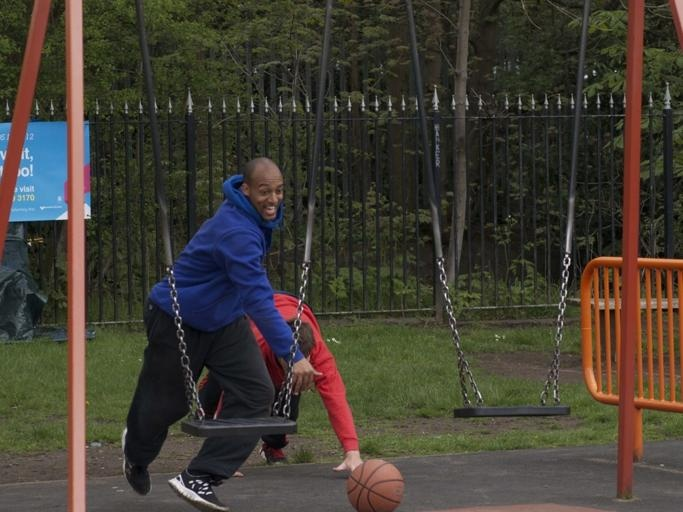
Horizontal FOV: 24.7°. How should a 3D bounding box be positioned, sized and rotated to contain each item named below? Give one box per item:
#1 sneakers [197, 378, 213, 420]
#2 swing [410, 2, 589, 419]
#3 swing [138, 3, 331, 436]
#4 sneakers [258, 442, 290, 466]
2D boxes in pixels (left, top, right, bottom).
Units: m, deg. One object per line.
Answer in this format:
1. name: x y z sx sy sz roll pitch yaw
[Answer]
1. sneakers: -1.342 1.403 15.417 0.110 0.343 0.234 -8 28 -4
2. swing: 1.738 -0.414 16.723 1.819 4.423 3.567 -1 0 9
3. swing: -1.022 -0.280 15.245 1.932 4.213 1.610 0 -1 -5
4. sneakers: -0.705 2.032 15.907 0.325 0.162 0.135 3 2 29
